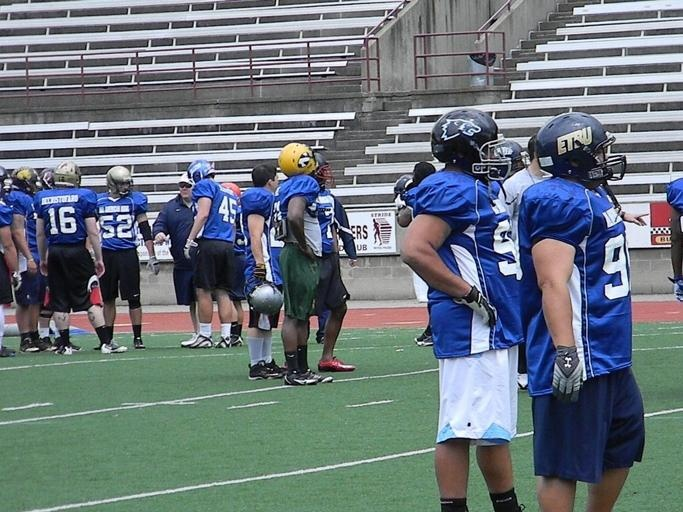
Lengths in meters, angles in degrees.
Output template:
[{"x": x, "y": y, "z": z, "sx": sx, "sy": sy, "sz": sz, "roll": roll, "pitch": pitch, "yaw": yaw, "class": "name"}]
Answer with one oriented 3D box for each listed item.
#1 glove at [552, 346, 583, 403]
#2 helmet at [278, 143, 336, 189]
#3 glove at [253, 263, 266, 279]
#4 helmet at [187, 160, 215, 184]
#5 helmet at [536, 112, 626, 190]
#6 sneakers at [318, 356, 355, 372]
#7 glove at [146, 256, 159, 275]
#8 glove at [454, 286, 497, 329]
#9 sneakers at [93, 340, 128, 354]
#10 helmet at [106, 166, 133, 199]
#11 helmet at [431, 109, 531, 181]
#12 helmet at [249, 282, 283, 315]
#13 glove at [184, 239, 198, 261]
[{"x": 1.187, "y": 0.612, "z": 4.884, "sx": 0.157, "sy": 0.277, "sz": 0.070, "roll": -1, "pitch": 4, "yaw": 12, "class": "glove"}, {"x": -0.361, "y": -0.898, "z": 9.221, "sx": 0.565, "sy": 0.423, "sz": 0.403, "roll": -12, "pitch": 25, "yaw": -26, "class": "helmet"}, {"x": -0.828, "y": 0.157, "z": 9.561, "sx": 0.139, "sy": 0.136, "sz": 0.110, "roll": -2, "pitch": 1, "yaw": 5, "class": "glove"}, {"x": -1.911, "y": -1.128, "z": 12.486, "sx": 0.375, "sy": 0.320, "sz": 0.289, "roll": 3, "pitch": 11, "yaw": 25, "class": "helmet"}, {"x": 1.380, "y": -0.619, "z": 5.311, "sx": 0.493, "sy": 0.371, "sz": 0.357, "roll": -2, "pitch": 8, "yaw": 5, "class": "helmet"}, {"x": -0.058, "y": 1.183, "z": 10.254, "sx": 0.389, "sy": 0.150, "sz": 0.158, "roll": 1, "pitch": -2, "yaw": -6, "class": "sneakers"}, {"x": -3.102, "y": 0.143, "z": 15.187, "sx": 0.140, "sy": 0.331, "sz": 0.264, "roll": -13, "pitch": 23, "yaw": -16, "class": "glove"}, {"x": 0.797, "y": 0.287, "z": 5.381, "sx": 0.254, "sy": 0.121, "sz": 0.165, "roll": 35, "pitch": 19, "yaw": -4, "class": "glove"}, {"x": -3.097, "y": 1.181, "z": 12.337, "sx": 0.467, "sy": 0.218, "sz": 0.177, "roll": -1, "pitch": 2, "yaw": -2, "class": "sneakers"}, {"x": -3.121, "y": -1.042, "z": 12.738, "sx": 0.429, "sy": 0.425, "sz": 0.329, "roll": -4, "pitch": 24, "yaw": -5, "class": "helmet"}, {"x": 0.832, "y": -0.682, "z": 5.628, "sx": 0.538, "sy": 0.361, "sz": 0.361, "roll": 6, "pitch": 16, "yaw": 3, "class": "helmet"}, {"x": -0.757, "y": 0.438, "z": 9.272, "sx": 0.337, "sy": 0.319, "sz": 0.388, "roll": -3, "pitch": 4, "yaw": -6, "class": "helmet"}, {"x": -1.979, "y": -0.079, "z": 12.083, "sx": 0.102, "sy": 0.252, "sz": 0.194, "roll": 8, "pitch": 7, "yaw": -18, "class": "glove"}]
